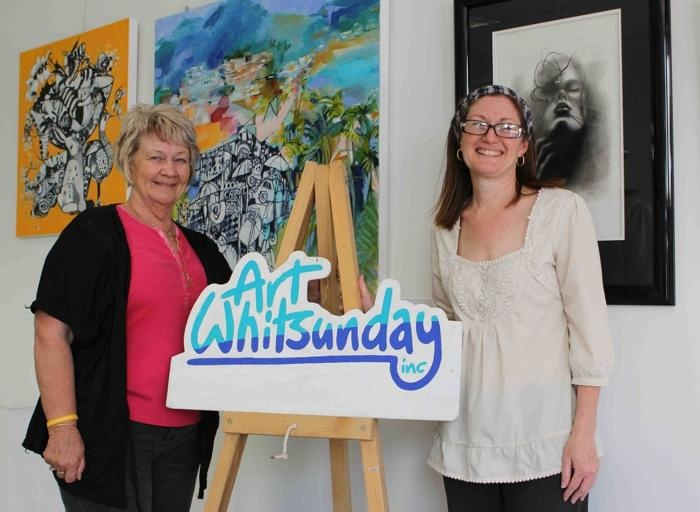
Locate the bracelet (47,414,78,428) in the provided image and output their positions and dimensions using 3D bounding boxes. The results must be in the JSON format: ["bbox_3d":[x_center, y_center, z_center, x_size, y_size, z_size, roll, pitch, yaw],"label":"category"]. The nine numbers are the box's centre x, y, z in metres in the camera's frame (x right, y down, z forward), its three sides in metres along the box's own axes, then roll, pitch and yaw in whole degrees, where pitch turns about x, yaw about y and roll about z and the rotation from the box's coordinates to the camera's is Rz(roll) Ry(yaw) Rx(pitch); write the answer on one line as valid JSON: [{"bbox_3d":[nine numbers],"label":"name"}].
[{"bbox_3d":[-0.906,0.518,2.108,0.089,0.037,0.028,-6,7,-27],"label":"bracelet"}]

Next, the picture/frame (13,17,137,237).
[{"bbox_3d":[-1.380,-0.625,3.377,0.810,0.974,0.066,0,-2,25],"label":"picture/frame"}]
